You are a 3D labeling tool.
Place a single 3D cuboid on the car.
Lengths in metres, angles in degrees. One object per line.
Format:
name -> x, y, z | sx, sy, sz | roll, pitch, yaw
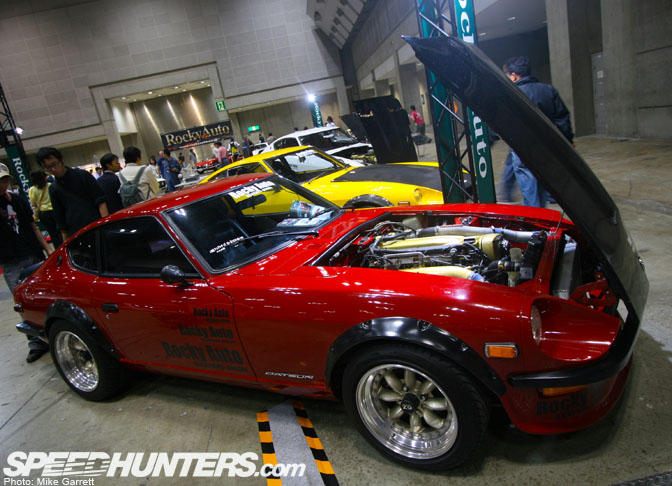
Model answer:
car -> -0.829, -0.098, 3.740 | 5.919, 2.138, 2.443 | 4, 26, 20
